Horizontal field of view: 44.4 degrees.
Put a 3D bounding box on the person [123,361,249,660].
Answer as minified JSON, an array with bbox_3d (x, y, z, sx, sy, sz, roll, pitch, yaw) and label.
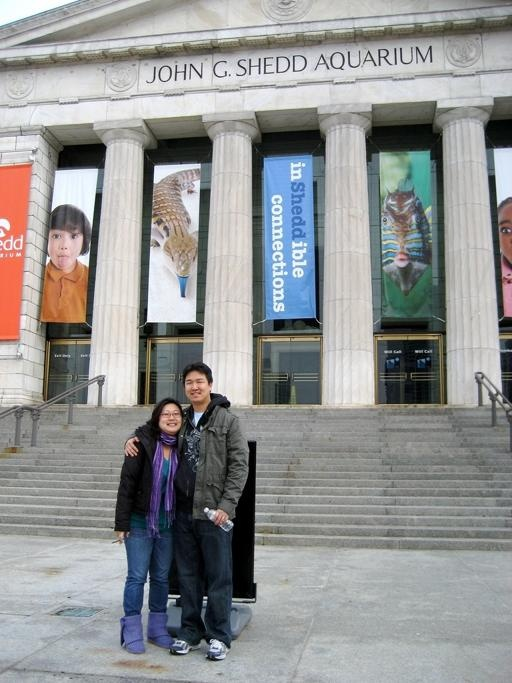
[{"bbox_3d":[-0.278,0.979,3.801,0.458,1.695,0.388,-1,-7,1],"label":"person"}]

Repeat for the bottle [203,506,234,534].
[{"bbox_3d":[-0.193,1.059,3.710,0.118,0.156,0.213,-6,-9,39],"label":"bottle"}]

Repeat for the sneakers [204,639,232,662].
[{"bbox_3d":[-0.215,1.736,3.551,0.119,0.104,0.204,-1,-6,2],"label":"sneakers"}]

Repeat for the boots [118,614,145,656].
[{"bbox_3d":[-0.711,1.692,3.640,0.126,0.177,0.261,1,-7,-15],"label":"boots"}]
